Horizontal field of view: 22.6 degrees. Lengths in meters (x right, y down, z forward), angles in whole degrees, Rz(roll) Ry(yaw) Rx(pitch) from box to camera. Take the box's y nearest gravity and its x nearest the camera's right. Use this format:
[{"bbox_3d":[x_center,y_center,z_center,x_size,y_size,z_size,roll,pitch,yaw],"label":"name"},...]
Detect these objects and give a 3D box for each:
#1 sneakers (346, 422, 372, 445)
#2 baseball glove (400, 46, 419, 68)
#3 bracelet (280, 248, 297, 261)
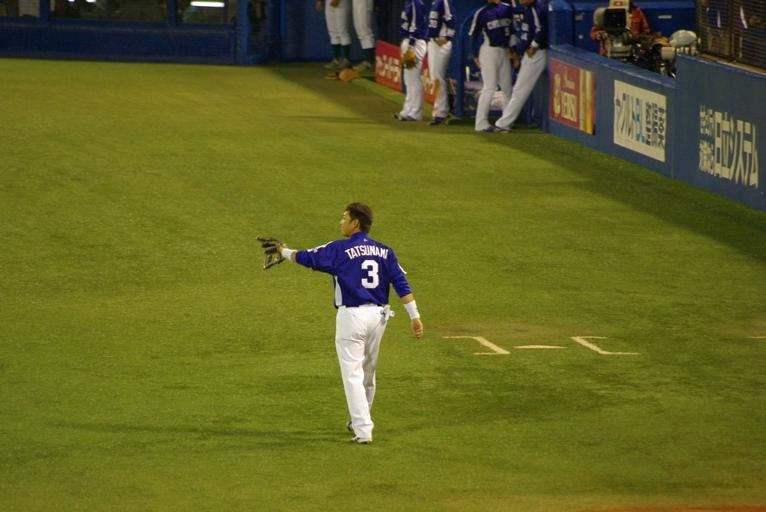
[{"bbox_3d":[-0.266,1.885,20.755,0.143,0.156,0.387,-4,15,-21],"label":"sneakers"},{"bbox_3d":[0.467,-3.243,31.746,0.248,0.373,0.452,4,15,0],"label":"baseball glove"},{"bbox_3d":[-1.002,-0.025,20.741,0.138,0.062,0.153,7,4,-12],"label":"bracelet"}]
